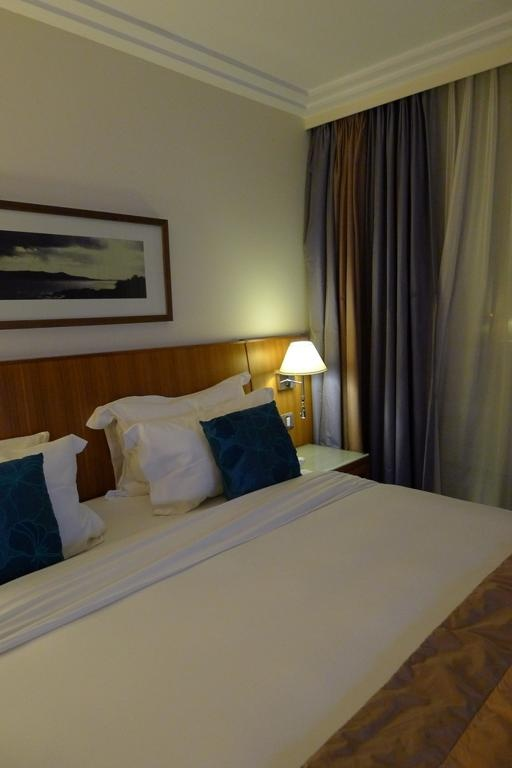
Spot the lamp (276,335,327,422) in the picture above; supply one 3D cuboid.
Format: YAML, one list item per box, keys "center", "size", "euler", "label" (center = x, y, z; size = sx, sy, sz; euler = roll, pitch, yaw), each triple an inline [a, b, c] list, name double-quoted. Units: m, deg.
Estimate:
- center: [0.282, -0.036, 3.071]
  size: [0.297, 0.509, 0.279]
  euler: [10, 19, 42]
  label: "lamp"
